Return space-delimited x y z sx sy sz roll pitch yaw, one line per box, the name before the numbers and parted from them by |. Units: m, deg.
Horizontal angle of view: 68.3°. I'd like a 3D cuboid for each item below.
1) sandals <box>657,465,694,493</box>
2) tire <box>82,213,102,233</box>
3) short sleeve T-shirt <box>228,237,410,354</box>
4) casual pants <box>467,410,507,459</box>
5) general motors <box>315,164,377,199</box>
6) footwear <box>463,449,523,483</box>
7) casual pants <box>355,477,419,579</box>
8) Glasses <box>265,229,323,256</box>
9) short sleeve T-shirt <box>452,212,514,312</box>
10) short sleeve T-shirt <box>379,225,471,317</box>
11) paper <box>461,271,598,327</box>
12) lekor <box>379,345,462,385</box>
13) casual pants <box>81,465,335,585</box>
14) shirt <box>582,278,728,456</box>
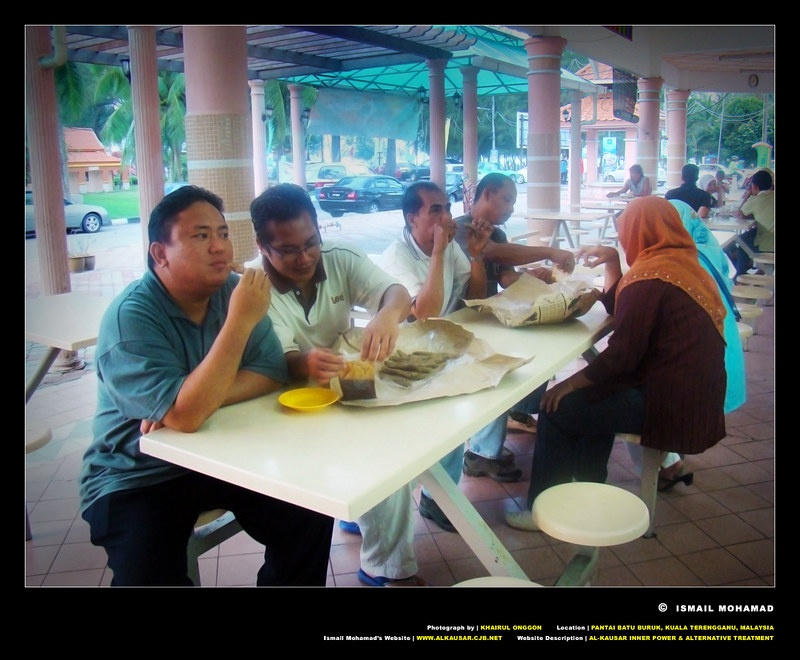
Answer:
sandals | 1.243 0.687 2.717 0.204 0.086 0.076 -14 -22 24
tire | -4.686 -1.648 8.981 0.125 0.315 0.319 10 20 16
short sleeve T-shirt | -0.272 -0.112 2.059 0.216 0.391 0.385 16 31 36
casual pants | 0.435 0.556 2.922 0.208 0.262 0.160 -6 -28 22
general motors | -1.175 -2.813 10.769 0.624 0.544 1.147 12 29 36
footwear | 0.445 0.678 2.879 0.307 0.145 0.115 2 21 11
casual pants | -0.044 0.786 2.201 0.219 0.343 0.255 -11 -28 -19
Glasses | -0.360 -0.291 2.008 0.182 0.095 0.067 -1 2 -16
short sleeve T-shirt | 0.394 -0.323 2.892 0.270 0.479 0.352 -8 28 12
short sleeve T-shirt | 0.116 -0.260 2.665 0.405 0.450 0.251 -13 16 -41
paper | 0.645 -0.160 2.560 0.408 0.146 0.333 -30 15 -31
lekor | 0.044 0.115 1.894 0.155 0.046 0.131 1 22 18
casual pants | -0.552 0.546 1.668 0.524 0.119 0.351 16 21 37
shirt | 1.081 0.101 2.517 0.629 0.774 0.596 3 8 38
